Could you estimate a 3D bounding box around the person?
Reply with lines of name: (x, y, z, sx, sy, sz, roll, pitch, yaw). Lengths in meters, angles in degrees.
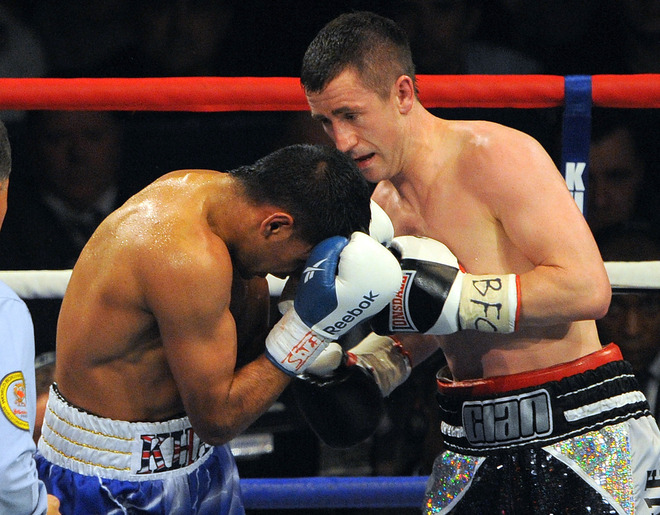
person: (-0.031, 0.188, 2.830, 1.886, 1.356, 0.778, -12, 20, -6)

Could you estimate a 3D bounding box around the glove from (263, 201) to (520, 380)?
glove: (0.221, 0.158, 2.930, 0.722, 0.325, 0.503, -14, 60, 0)
